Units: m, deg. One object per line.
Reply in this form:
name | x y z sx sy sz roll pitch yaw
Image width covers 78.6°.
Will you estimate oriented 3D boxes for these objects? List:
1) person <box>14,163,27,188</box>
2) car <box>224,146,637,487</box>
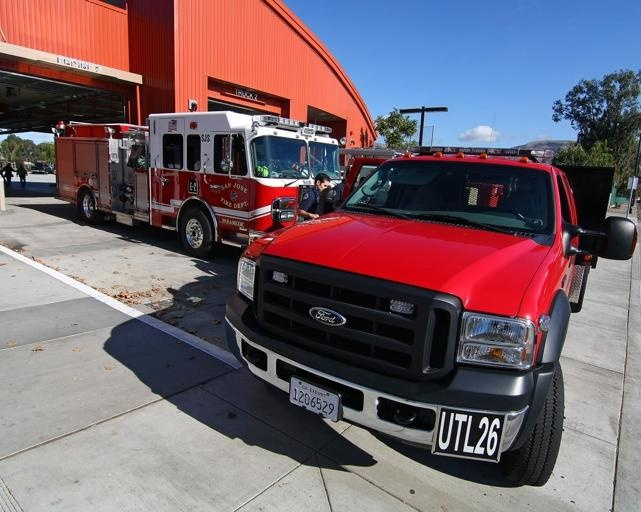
person | -19.524 -5.330 25.614 0.417 1.594 1.566 -6 17 -37
car | 1.475 0.223 3.968 2.415 1.547 4.023 8 10 32
